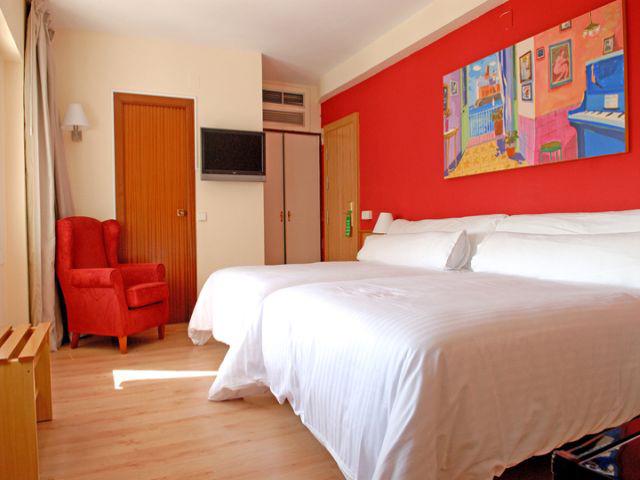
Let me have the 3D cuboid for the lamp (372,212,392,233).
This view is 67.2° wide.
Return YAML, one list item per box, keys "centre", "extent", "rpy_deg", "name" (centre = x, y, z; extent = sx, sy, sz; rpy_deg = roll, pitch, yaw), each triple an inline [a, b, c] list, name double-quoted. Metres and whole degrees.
- centre: [0.658, -0.181, 5.157]
  extent: [0.179, 0.179, 0.203]
  rpy_deg: [12, 0, -3]
  name: "lamp"

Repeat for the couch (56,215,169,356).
- centre: [-1.934, 0.367, 4.837]
  extent: [1.058, 1.533, 1.104]
  rpy_deg: [1, 2, 10]
  name: "couch"

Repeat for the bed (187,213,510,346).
- centre: [0.152, 0.197, 3.979]
  extent: [1.739, 0.932, 1.475]
  rpy_deg: [0, 1, -18]
  name: "bed"

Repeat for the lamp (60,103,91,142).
- centre: [-2.388, -1.140, 4.712]
  extent: [0.257, 0.377, 0.258]
  rpy_deg: [-5, -1, 35]
  name: "lamp"

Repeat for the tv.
- centre: [-1.001, -0.935, 5.316]
  extent: [0.594, 0.471, 0.062]
  rpy_deg: [0, -1, -28]
  name: "tv"
